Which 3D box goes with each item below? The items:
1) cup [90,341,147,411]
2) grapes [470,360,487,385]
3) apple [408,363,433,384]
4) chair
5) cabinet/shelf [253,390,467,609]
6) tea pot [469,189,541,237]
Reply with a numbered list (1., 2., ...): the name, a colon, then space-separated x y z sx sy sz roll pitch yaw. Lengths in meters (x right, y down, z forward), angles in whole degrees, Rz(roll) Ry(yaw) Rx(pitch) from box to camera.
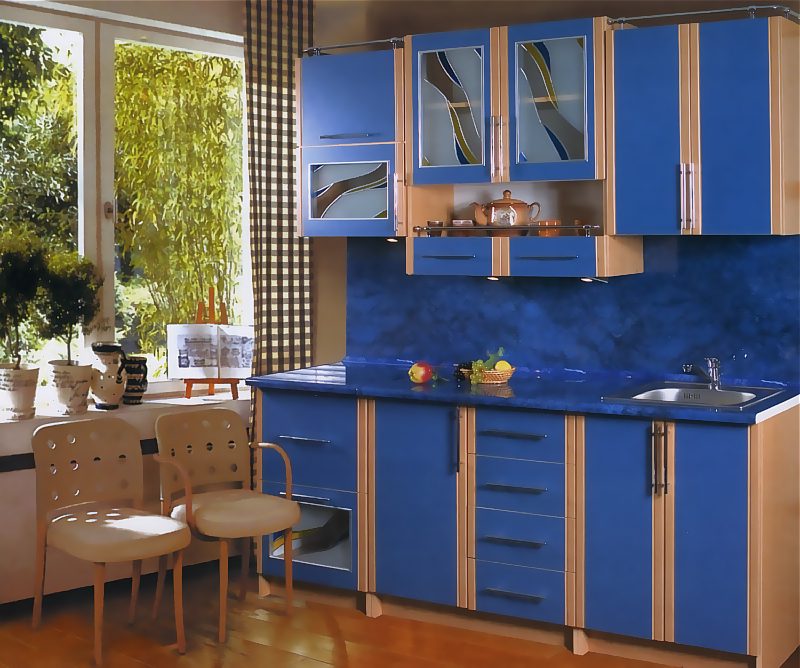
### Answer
1. cup: -1.179 0.198 3.830 0.215 0.323 0.341 -1 -4 32
2. grapes: 0.351 0.161 3.596 0.080 0.086 0.027 1 -7 27
3. apple: 0.101 0.174 3.643 0.104 0.077 0.076 -5 -1 -41
4. chair: -0.972 0.847 3.425 0.933 0.760 0.549 -4 4 -43
5. cabinet/shelf: -0.123 0.702 3.503 1.011 0.839 0.389 1 0 24
6. tea pot: 0.468 -0.527 3.576 0.284 0.148 0.192 2 4 18
